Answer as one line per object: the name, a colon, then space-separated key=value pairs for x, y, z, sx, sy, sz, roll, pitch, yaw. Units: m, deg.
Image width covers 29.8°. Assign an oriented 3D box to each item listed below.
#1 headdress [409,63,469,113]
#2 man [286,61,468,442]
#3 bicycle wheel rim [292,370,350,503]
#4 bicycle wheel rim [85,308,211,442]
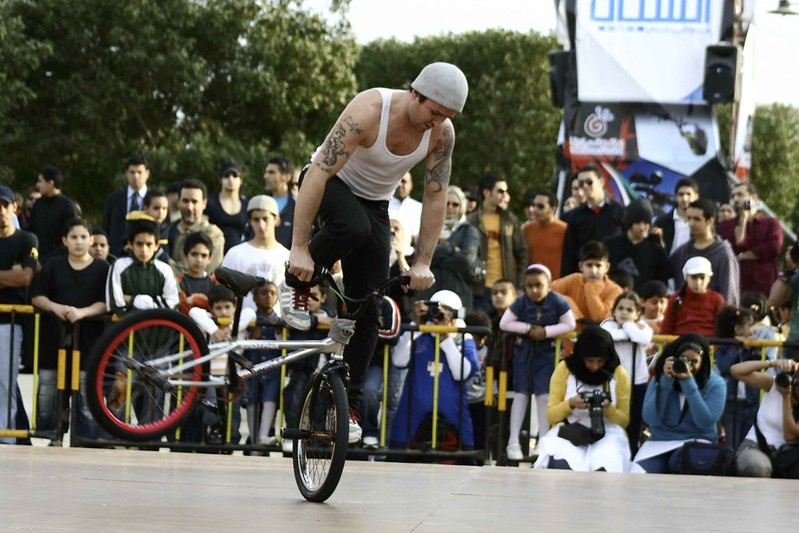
headdress: x=0.455 y=-2.008 z=16.565 sx=0.575 sy=0.348 sz=0.568 roll=21 pitch=14 yaw=-47
man: x=-0.277 y=-0.135 z=16.683 sx=1.844 sy=4.195 sz=0.941 roll=1 pitch=-5 yaw=-4
bicycle wheel rim: x=-0.844 y=1.925 z=16.617 sx=0.580 sy=1.074 sz=1.025 roll=5 pitch=-33 yaw=-22
bicycle wheel rim: x=-2.907 y=1.282 z=17.529 sx=1.567 sy=1.540 sz=0.500 roll=8 pitch=7 yaw=-15
